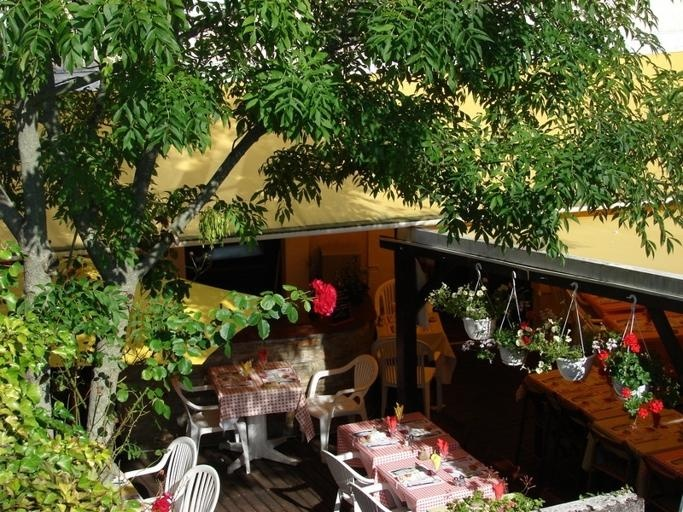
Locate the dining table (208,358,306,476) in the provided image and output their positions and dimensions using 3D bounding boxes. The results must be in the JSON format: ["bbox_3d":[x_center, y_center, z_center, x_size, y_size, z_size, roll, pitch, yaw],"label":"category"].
[{"bbox_3d":[-1.140,2.057,7.262,1.205,1.103,1.325,-5,15,-17],"label":"dining table"}]
